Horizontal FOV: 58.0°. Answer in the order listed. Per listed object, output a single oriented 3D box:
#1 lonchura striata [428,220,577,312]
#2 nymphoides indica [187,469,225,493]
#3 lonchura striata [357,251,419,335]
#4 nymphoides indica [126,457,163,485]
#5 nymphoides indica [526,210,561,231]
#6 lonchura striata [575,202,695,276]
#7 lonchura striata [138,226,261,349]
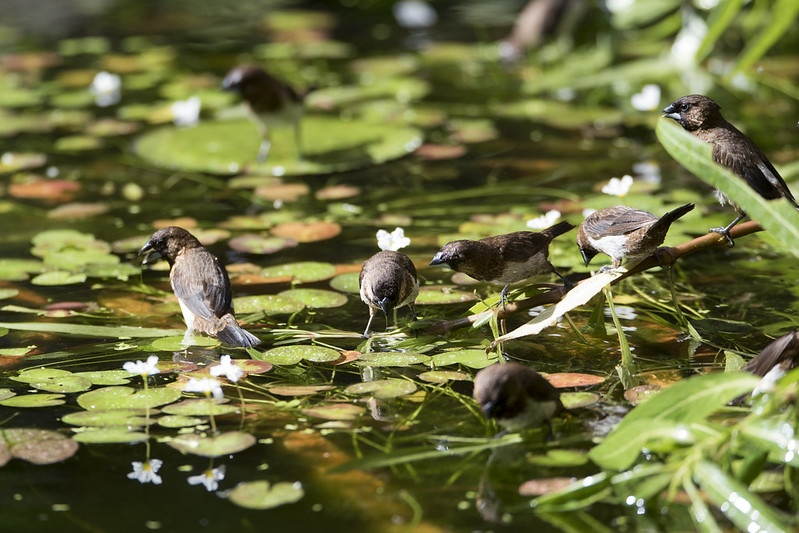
[{"bbox_3d":[0.453,-0.033,3.352,0.550,0.231,0.212,-17,47,-16],"label":"lonchura striata"},{"bbox_3d":[-0.710,0.783,2.662,0.132,0.005,0.110,2,35,6],"label":"nymphoides indica"},{"bbox_3d":[-0.063,0.089,3.599,0.393,0.255,0.504,3,24,3],"label":"lonchura striata"},{"bbox_3d":[-0.939,0.765,2.692,0.123,0.085,0.064,-1,69,10],"label":"nymphoides indica"},{"bbox_3d":[0.767,-0.238,3.779,0.202,0.170,0.054,-15,90,-27],"label":"nymphoides indica"},{"bbox_3d":[1.008,-0.195,3.194,0.287,0.397,0.322,-16,48,-8],"label":"lonchura striata"},{"bbox_3d":[-0.972,0.110,3.512,0.320,0.334,0.908,-25,42,-18],"label":"lonchura striata"}]
